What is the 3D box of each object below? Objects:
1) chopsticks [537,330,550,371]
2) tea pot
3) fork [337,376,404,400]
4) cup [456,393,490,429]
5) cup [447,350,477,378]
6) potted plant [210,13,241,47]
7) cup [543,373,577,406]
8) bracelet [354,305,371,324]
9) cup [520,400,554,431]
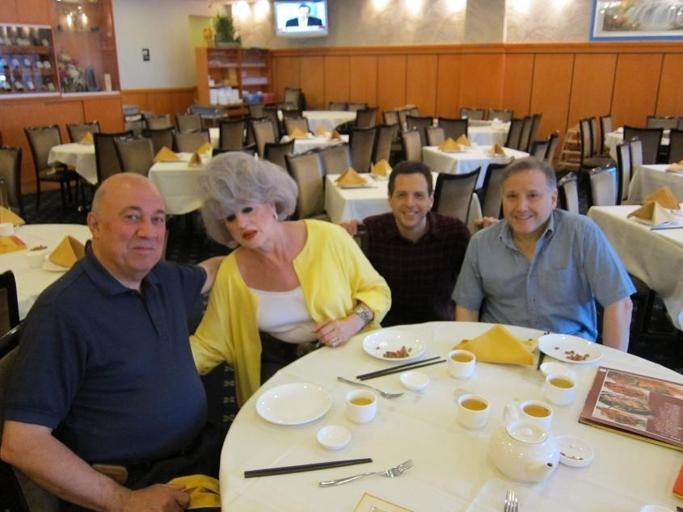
[{"bbox_3d":[0.745,0.350,1.794,0.019,0.020,0.171,10,34,29],"label":"chopsticks"},{"bbox_3d":[0.494,0.525,1.319,0.173,0.109,0.121,6,23,23],"label":"tea pot"},{"bbox_3d":[0.098,0.442,1.633,0.167,0.026,0.030,8,25,33],"label":"fork"},{"bbox_3d":[0.402,0.471,1.484,0.085,0.056,0.088,-2,23,1],"label":"cup"},{"bbox_3d":[0.425,0.360,1.709,0.084,0.067,0.088,-2,24,1],"label":"cup"},{"bbox_3d":[-2.871,-5.593,12.063,0.589,0.708,0.875,-7,21,-9],"label":"potted plant"},{"bbox_3d":[0.699,0.426,1.558,0.087,0.072,0.090,-1,25,1],"label":"cup"},{"bbox_3d":[0.088,0.251,2.155,0.062,0.085,0.085,-3,54,-2],"label":"bracelet"},{"bbox_3d":[0.588,0.466,1.461,0.060,0.064,0.088,-14,32,-9],"label":"cup"}]
